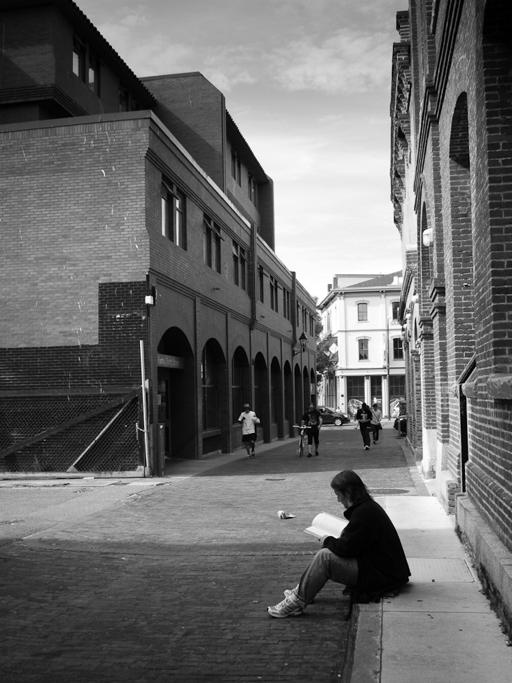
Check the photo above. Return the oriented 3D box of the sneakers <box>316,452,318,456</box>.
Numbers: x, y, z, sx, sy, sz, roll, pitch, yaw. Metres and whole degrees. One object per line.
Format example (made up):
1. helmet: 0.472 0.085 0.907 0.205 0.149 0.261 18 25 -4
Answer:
1. sneakers: 1.898 3.437 23.542 0.079 0.110 0.173 1 -11 2

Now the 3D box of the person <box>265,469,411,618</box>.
1. person: 0.601 1.534 5.631 0.931 1.106 0.608 -2 -33 7

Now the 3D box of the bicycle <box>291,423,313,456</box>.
1. bicycle: 1.350 3.208 24.471 0.733 1.290 1.790 -3 -4 2

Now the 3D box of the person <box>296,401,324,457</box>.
1. person: 1.712 2.716 23.828 0.489 1.708 1.435 0 -6 32

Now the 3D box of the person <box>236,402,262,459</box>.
1. person: -0.202 2.745 23.787 0.552 1.642 1.915 -2 -5 -1

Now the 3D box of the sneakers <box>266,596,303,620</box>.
1. sneakers: 0.219 1.873 5.503 0.289 0.200 0.124 -2 18 -1
